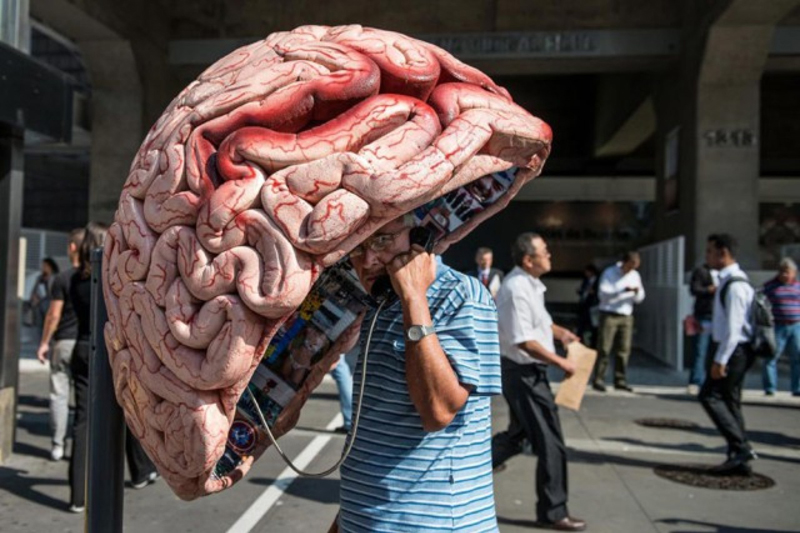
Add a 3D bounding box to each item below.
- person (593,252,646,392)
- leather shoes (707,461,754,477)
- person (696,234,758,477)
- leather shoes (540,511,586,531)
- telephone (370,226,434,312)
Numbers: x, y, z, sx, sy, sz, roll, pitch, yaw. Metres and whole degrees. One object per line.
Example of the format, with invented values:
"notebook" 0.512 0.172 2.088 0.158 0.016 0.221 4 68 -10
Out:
"person" 3.603 0.892 18.398 0.760 2.347 0.506 1 -2 9
"leather shoes" 4.483 2.775 15.007 0.594 0.286 0.223 1 -7 13
"person" 4.455 1.170 15.033 0.703 3.287 0.596 0 -2 25
"leather shoes" 2.028 3.236 13.801 0.487 0.240 0.239 -4 -1 -1
"telephone" -0.005 -0.001 11.759 0.629 0.873 0.301 35 2 -38
